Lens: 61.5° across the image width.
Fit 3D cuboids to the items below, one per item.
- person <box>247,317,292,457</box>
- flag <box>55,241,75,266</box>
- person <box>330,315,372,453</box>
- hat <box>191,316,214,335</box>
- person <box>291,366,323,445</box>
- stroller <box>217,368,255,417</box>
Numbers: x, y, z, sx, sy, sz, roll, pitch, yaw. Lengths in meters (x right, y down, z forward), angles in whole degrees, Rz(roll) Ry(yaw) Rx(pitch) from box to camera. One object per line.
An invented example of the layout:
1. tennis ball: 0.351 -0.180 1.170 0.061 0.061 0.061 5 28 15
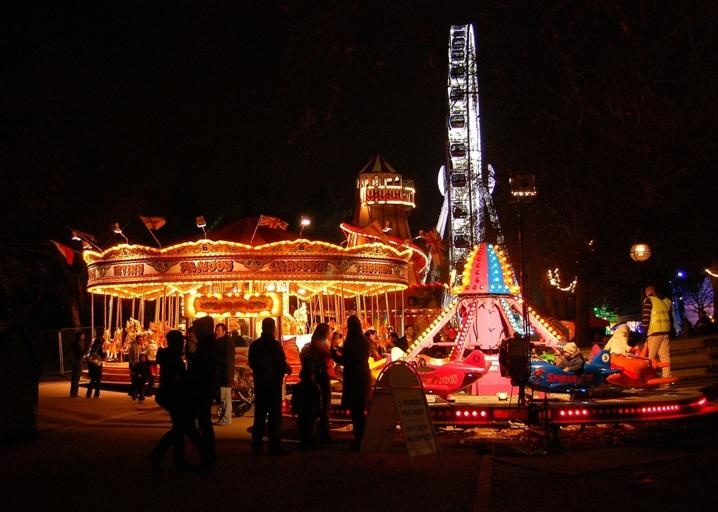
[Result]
1. person: -1.415 2.055 9.563 0.573 2.144 0.806 1 0 -36
2. flag: -12.402 -0.025 25.418 0.280 0.988 1.137 -28 18 -7
3. person: -0.038 2.016 9.796 0.559 2.093 0.485 1 0 41
4. hat: -2.329 1.043 9.115 0.312 0.267 0.236 9 5 30
5. person: -0.866 2.488 9.954 0.413 1.279 0.475 1 0 -1
6. stroller: -2.818 3.304 14.567 1.136 1.501 0.604 -5 -13 15
